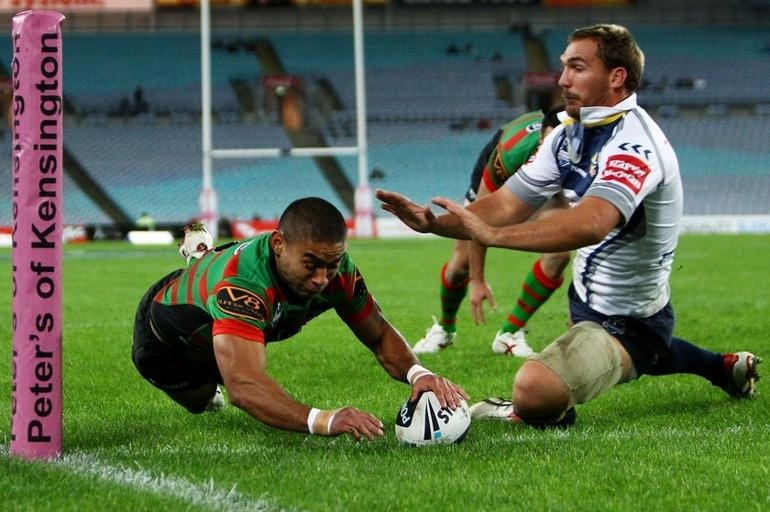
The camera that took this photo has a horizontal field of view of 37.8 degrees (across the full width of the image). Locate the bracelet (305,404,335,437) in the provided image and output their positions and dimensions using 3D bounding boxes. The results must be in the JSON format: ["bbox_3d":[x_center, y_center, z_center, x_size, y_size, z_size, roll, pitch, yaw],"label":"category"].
[{"bbox_3d":[-0.533,1.377,9.449,0.260,0.217,0.140,1,8,3],"label":"bracelet"}]

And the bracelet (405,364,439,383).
[{"bbox_3d":[0.271,1.018,9.880,0.139,0.086,0.208,-23,37,-23],"label":"bracelet"}]
